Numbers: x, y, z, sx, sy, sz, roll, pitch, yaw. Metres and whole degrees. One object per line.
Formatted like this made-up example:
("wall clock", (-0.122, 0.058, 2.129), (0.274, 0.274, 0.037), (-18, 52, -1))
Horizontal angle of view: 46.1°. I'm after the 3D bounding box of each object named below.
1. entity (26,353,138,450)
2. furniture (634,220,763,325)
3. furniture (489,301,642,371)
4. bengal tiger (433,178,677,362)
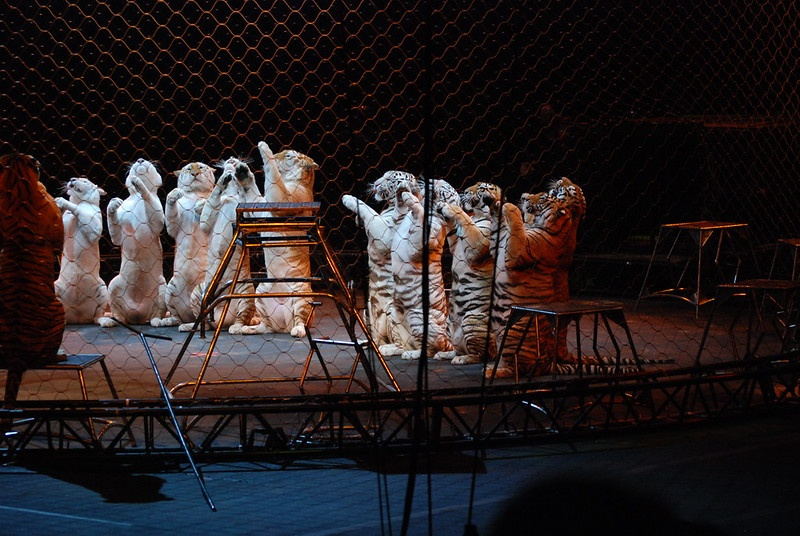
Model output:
("entity", (-2.090, 0.975, 6.516), (0.578, 0.517, 0.546), (-26, -3, -11))
("furniture", (3.574, -0.082, 11.481), (1.293, 1.133, 1.256), (3, 15, 19))
("furniture", (1.473, 0.464, 6.997), (0.665, 0.330, 0.571), (-6, 0, 15))
("bengal tiger", (1.480, 0.076, 8.121), (0.630, 1.643, 1.949), (-1, 6, -42))
